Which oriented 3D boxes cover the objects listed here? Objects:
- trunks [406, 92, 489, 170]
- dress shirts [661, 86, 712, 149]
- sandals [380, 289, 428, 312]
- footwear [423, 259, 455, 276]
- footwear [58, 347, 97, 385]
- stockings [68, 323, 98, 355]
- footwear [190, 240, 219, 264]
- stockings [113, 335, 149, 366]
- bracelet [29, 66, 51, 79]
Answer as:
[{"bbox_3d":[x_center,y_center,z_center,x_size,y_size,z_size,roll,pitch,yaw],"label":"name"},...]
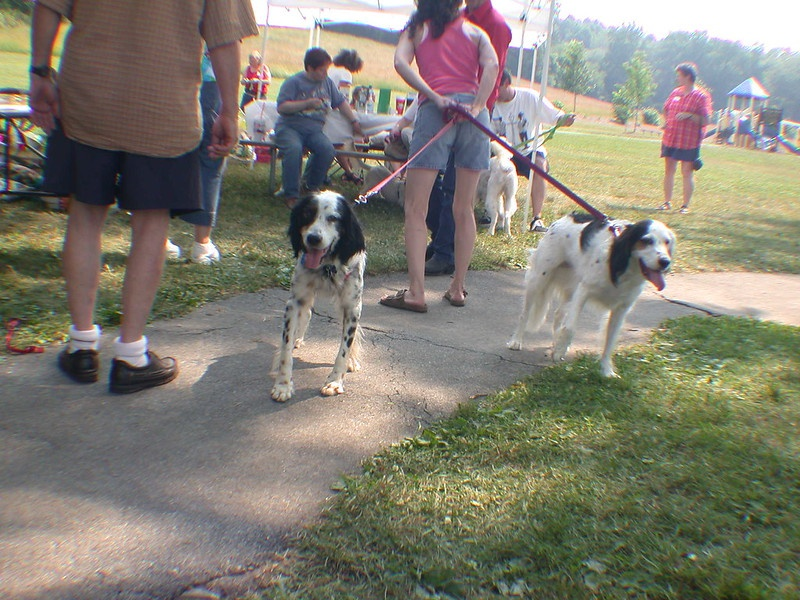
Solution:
[{"bbox_3d":[0.420,-1.377,4.474,0.738,0.705,0.432,1,18,-27],"label":"trunks"},{"bbox_3d":[5.412,-3.453,10.345,0.748,1.236,0.750,12,12,23],"label":"dress shirts"},{"bbox_3d":[0.026,0.021,4.732,0.444,0.190,0.164,16,6,16],"label":"sandals"},{"bbox_3d":[0.405,-0.351,5.828,0.361,0.172,0.144,3,5,-23],"label":"footwear"},{"bbox_3d":[-1.766,0.355,3.013,0.108,0.122,0.273,-2,18,-28],"label":"footwear"},{"bbox_3d":[-1.787,0.216,3.110,0.160,0.168,0.127,5,6,11],"label":"stockings"},{"bbox_3d":[-1.815,-0.445,5.127,0.129,0.161,0.338,2,11,13],"label":"footwear"},{"bbox_3d":[-1.485,0.277,3.076,0.134,0.176,0.176,-2,-13,-4],"label":"stockings"},{"bbox_3d":[-1.811,-1.152,2.764,0.085,0.066,0.048,0,13,-31],"label":"bracelet"}]
